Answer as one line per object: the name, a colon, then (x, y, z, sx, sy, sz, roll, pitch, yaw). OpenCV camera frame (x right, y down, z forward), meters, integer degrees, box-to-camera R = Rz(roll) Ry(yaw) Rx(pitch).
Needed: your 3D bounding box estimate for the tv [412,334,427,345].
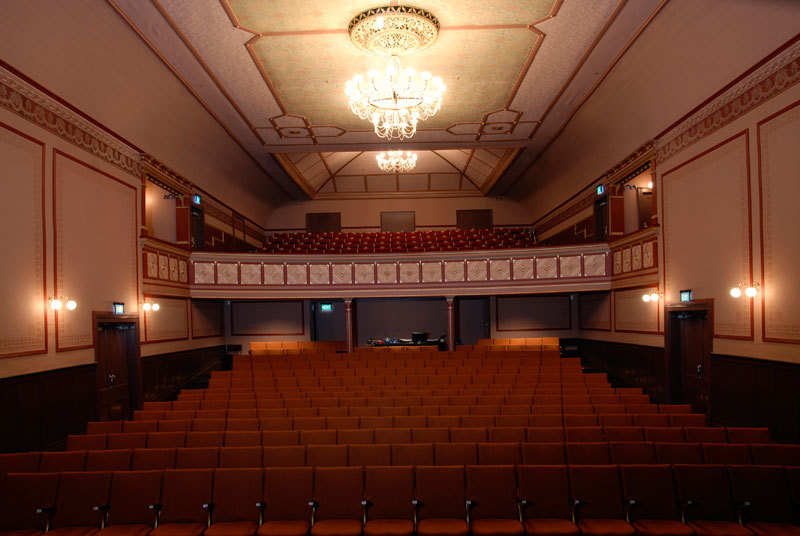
tv: (0.722, 2.509, 18.348, 0.639, 0.458, 0.348, 0, -8, 6)
